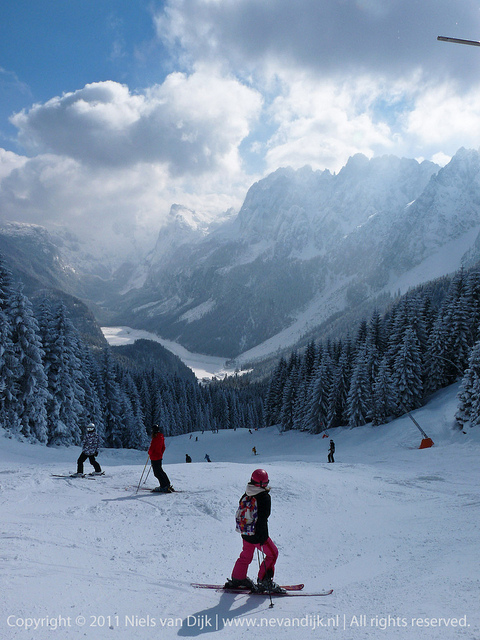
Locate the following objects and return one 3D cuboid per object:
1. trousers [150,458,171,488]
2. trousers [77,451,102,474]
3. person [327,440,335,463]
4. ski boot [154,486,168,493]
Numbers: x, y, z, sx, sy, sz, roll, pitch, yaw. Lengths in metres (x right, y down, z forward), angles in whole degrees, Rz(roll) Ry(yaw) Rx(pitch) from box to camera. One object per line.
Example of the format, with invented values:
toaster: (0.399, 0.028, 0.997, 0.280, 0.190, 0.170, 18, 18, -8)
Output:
trousers: (-2.906, 5.539, 25.739, 0.640, 1.238, 1.510, 3, 3, -5)
trousers: (-5.992, 5.591, 27.926, 0.925, 1.150, 1.788, 3, 3, -9)
person: (5.795, 8.253, 44.483, 0.306, 1.678, 2.281, 3, 2, 8)
ski boot: (-2.901, 6.176, 25.732, 0.526, 0.281, 0.201, -8, 4, -6)
